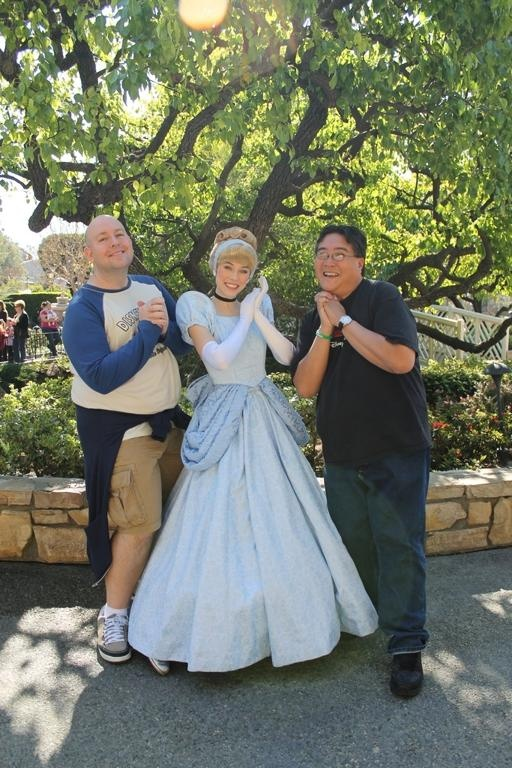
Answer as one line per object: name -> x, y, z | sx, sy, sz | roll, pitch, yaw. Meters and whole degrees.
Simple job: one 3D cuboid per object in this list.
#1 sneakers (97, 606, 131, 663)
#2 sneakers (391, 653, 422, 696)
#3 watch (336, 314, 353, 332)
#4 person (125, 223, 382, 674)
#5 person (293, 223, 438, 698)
sneakers -> -0.589, 1.020, 2.486 | 0.094, 0.098, 0.254 | 1, -4, -13
sneakers -> 0.547, 1.047, 2.223 | 0.114, 0.119, 0.148 | 1, 6, 17
watch -> 0.337, -0.246, 2.365 | 0.041, 0.059, 0.061 | 25, 55, 24
person -> -0.024, 0.209, 2.668 | 1.065, 1.708, 0.953 | 0, 6, 8
person -> 0.501, 0.340, 2.428 | 0.376, 1.489, 0.647 | -5, 7, -29
